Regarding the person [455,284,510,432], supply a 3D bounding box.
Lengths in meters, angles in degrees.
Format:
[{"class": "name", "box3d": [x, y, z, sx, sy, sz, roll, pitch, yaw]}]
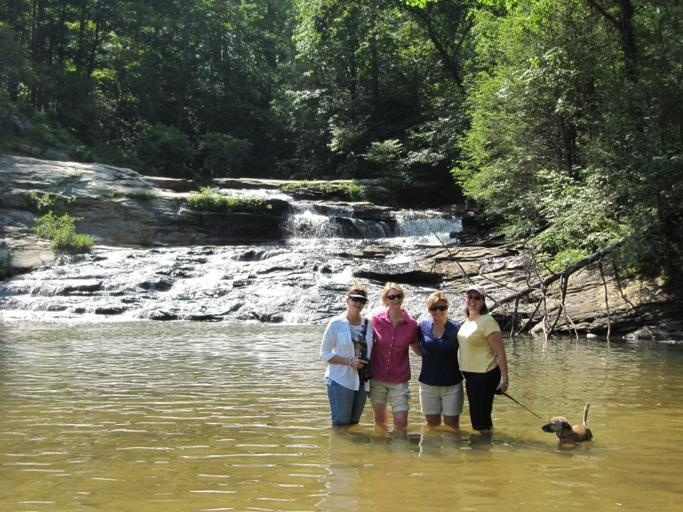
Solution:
[{"class": "person", "box3d": [1.926, 1.419, 9.135, 0.640, 2.008, 0.584, -1, -11, 7]}]

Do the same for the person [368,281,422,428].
[{"class": "person", "box3d": [0.745, 1.413, 9.290, 0.682, 2.059, 0.763, 0, -11, 1]}]

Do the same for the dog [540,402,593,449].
[{"class": "dog", "box3d": [3.100, 2.382, 9.013, 1.007, 0.549, 0.327, 4, -14, -39]}]

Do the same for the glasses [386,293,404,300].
[{"class": "glasses", "box3d": [0.732, 0.554, 9.129, 0.227, 0.091, 0.108, 1, -10, -3]}]

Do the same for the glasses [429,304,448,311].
[{"class": "glasses", "box3d": [1.332, 0.715, 9.124, 0.251, 0.098, 0.171, 0, -10, 4]}]

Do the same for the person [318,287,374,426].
[{"class": "person", "box3d": [0.084, 1.386, 9.183, 0.698, 1.953, 0.717, 0, -11, 3]}]
